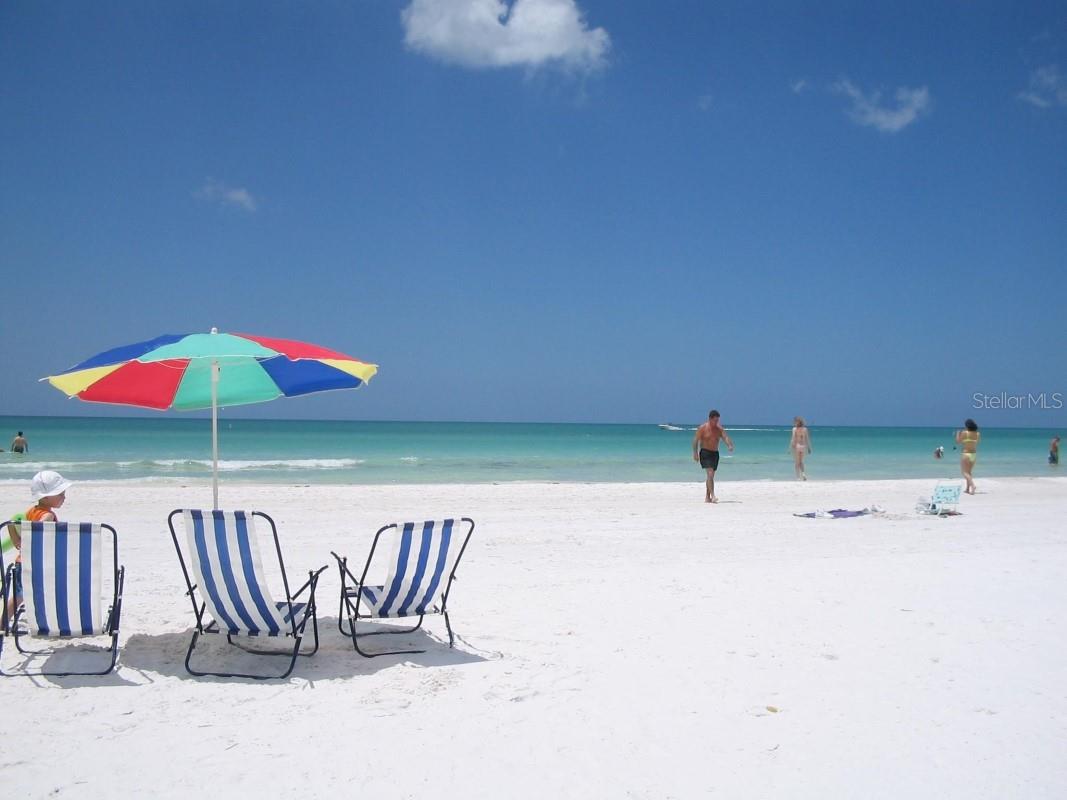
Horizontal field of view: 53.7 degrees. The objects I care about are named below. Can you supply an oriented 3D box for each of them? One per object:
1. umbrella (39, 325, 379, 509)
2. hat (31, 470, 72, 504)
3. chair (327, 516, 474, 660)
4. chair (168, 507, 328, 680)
[{"bbox_3d":[-2.617,0.150,8.545,2.157,1.626,1.672,7,13,32],"label":"umbrella"},{"bbox_3d":[-3.644,0.683,7.872,0.254,0.160,0.244,-8,15,32],"label":"hat"},{"bbox_3d":[-0.953,1.349,7.688,0.707,1.018,1.080,-6,-9,18],"label":"chair"},{"bbox_3d":[-2.078,1.364,7.743,0.873,1.290,1.330,0,-1,4],"label":"chair"}]
